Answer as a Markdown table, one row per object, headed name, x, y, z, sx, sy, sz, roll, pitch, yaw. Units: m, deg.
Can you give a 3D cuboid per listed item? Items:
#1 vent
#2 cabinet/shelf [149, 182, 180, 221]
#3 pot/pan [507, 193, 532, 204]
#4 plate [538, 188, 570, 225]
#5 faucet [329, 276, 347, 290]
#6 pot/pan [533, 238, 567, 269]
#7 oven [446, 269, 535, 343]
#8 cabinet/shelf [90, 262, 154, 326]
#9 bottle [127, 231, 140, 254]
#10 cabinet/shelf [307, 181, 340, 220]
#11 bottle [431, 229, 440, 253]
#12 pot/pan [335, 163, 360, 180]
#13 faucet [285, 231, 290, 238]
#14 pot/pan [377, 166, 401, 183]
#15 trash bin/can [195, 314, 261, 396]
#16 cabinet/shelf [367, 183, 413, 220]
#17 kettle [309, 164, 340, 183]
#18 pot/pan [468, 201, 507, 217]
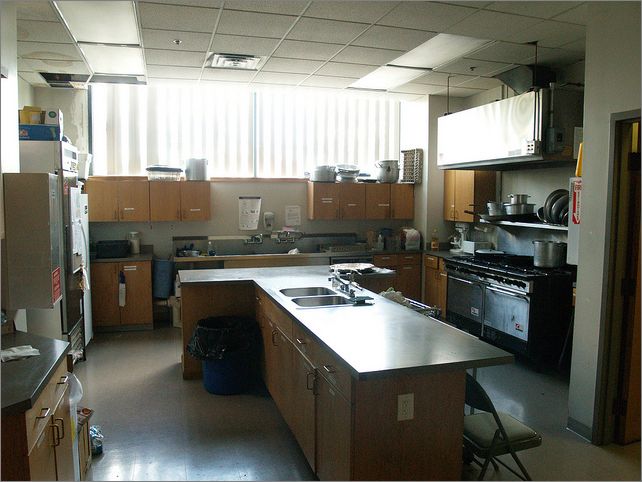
| name | x | y | z | sx | sy | sz | roll | pitch | yaw |
| --- | --- | --- | --- | --- | --- | --- | --- | --- | --- |
| vent | 2.112 | -1.177 | 6.217 | 0.609 | 0.688 | 1.926 | 1 | 4 | -19 |
| cabinet/shelf | -2.025 | -0.589 | 7.040 | 0.416 | 0.563 | 0.385 | 1 | 32 | -13 |
| pot/pan | 2.322 | -0.486 | 6.293 | 0.237 | 0.094 | 0.164 | 0 | 1 | 0 |
| plate | 2.522 | -0.364 | 5.810 | 0.297 | 0.354 | 0.403 | 5 | 13 | 22 |
| faucet | 0.161 | 0.380 | 4.723 | 0.080 | 0.144 | 0.145 | -1 | 3 | -25 |
| pot/pan | 2.449 | 0.150 | 5.730 | 0.281 | 0.214 | 0.270 | -1 | 2 | -42 |
| oven | 1.912 | 0.679 | 5.874 | 0.536 | 0.530 | 0.816 | 1 | 7 | -17 |
| cabinet/shelf | -2.547 | 0.597 | 6.830 | 0.737 | 0.944 | 0.591 | 2 | 17 | -8 |
| bottle | -2.448 | 0.024 | 6.988 | 0.131 | 0.247 | 0.322 | -4 | 13 | -20 |
| cabinet/shelf | 0.030 | -0.578 | 7.737 | 0.435 | 0.524 | 0.390 | -1 | 6 | -16 |
| bottle | 1.640 | 0.000 | 7.669 | 0.136 | 0.271 | 0.186 | 3 | 12 | 12 |
| pot/pan | 0.378 | -0.958 | 7.597 | 0.247 | 0.156 | 0.253 | 0 | 16 | -2 |
| faucet | -0.472 | -0.091 | 7.588 | 0.061 | 0.099 | 0.042 | -3 | 12 | -16 |
| pot/pan | 0.981 | -0.922 | 7.731 | 0.260 | 0.187 | 0.246 | 0 | 2 | -4 |
| trash bin/can | -0.922 | 1.104 | 5.145 | 0.661 | 0.626 | 0.676 | 3 | 6 | 43 |
| cabinet/shelf | 1.002 | -0.559 | 7.866 | 0.820 | 0.570 | 0.478 | 0 | 3 | -12 |
| kettle | 0.004 | -0.939 | 7.569 | 0.266 | 0.187 | 0.283 | 3 | 5 | 42 |
| pot/pan | 2.017 | -0.386 | 6.398 | 0.473 | 0.171 | 0.225 | -4 | 4 | -11 |
